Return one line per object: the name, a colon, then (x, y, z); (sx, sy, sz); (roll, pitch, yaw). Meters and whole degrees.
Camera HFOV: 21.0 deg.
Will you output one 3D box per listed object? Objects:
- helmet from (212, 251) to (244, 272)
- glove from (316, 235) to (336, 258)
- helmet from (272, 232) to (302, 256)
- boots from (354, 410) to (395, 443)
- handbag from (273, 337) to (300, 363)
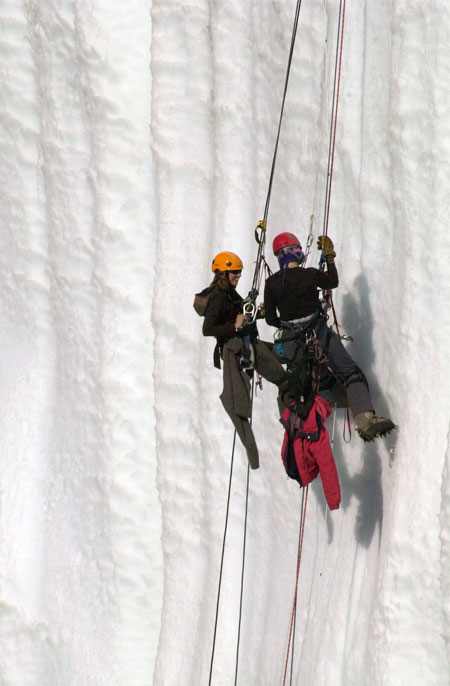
helmet: (0.009, -0.546, 8.270); (0.167, 0.135, 0.126); (3, 109, 16)
glove: (0.690, -0.673, 8.167); (0.108, 0.060, 0.172); (-8, 94, 40)
helmet: (0.434, -0.702, 8.278); (0.134, 0.166, 0.150); (-14, 92, 32)
boots: (0.967, 0.529, 7.900); (0.154, 0.260, 0.135); (-28, 88, -7)
handbag: (0.413, 0.043, 8.239); (0.155, 0.038, 0.171); (35, 122, 24)
